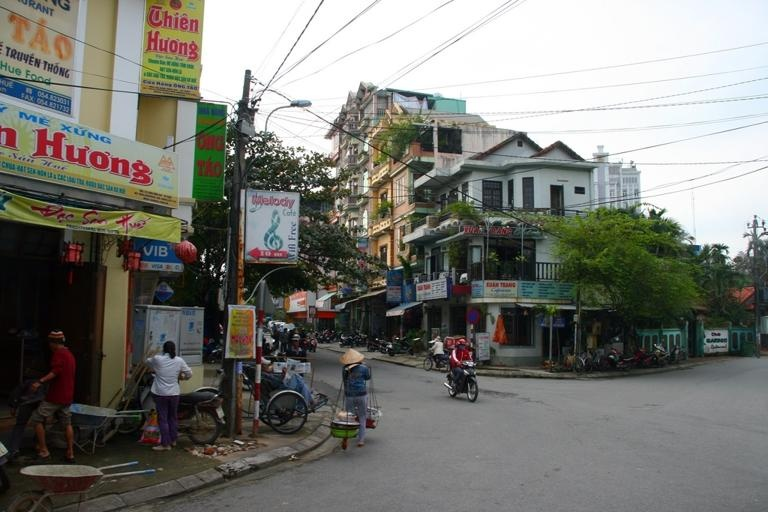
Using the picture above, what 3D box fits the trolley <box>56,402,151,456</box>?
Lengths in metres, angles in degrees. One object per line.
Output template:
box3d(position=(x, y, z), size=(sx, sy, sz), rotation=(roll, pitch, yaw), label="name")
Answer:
box3d(position=(-6.195, 3.710, 15.444), size=(2.113, 0.886, 0.913), rotation=(10, -2, -18), label="trolley")

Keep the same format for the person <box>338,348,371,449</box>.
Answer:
box3d(position=(-0.654, 3.345, 16.986), size=(0.954, 2.141, 0.792), rotation=(0, -2, 43), label="person")

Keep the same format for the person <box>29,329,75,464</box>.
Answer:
box3d(position=(-6.790, 2.880, 14.627), size=(0.812, 2.625, 0.551), rotation=(3, -8, -19), label="person")

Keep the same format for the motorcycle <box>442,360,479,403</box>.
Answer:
box3d(position=(2.546, 3.972, 22.687), size=(0.697, 1.249, 1.540), rotation=(3, -9, -21), label="motorcycle")

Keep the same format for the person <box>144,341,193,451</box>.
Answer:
box3d(position=(-4.838, 3.016, 15.857), size=(0.960, 2.403, 1.057), rotation=(2, -2, -23), label="person")

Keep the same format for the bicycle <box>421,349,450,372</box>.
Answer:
box3d(position=(2.372, 4.834, 32.491), size=(1.321, 0.823, 0.722), rotation=(1, 1, 24), label="bicycle")
